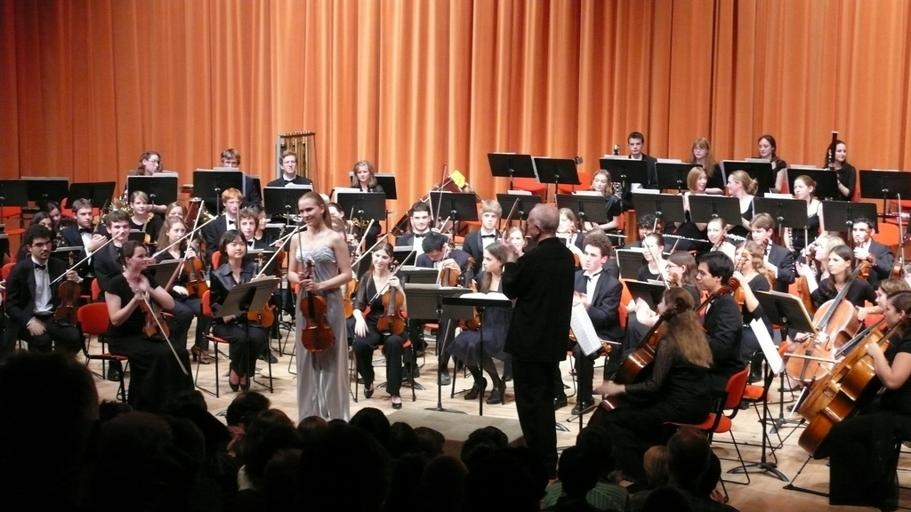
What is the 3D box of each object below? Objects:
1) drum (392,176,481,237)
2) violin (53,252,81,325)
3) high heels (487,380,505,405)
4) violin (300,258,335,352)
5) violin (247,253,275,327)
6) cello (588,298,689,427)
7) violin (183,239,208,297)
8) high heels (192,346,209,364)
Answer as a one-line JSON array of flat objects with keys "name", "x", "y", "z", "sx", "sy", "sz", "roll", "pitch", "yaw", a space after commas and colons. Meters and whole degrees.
[{"name": "drum", "x": -0.359, "y": -0.938, "z": 13.958, "sx": 1.903, "sy": 1.306, "sz": 0.959, "roll": 0, "pitch": -1, "yaw": 19}, {"name": "violin", "x": -5.104, "y": 0.525, "z": 10.810, "sx": 0.287, "sy": 0.717, "sz": 0.225, "roll": 7, "pitch": -6, "yaw": -41}, {"name": "high heels", "x": 0.508, "y": 1.697, "z": 10.181, "sx": 0.164, "sy": 0.137, "sz": 0.319, "roll": -1, "pitch": 8, "yaw": 28}, {"name": "violin", "x": -1.552, "y": 0.566, "z": 9.006, "sx": 0.356, "sy": 0.968, "sz": 0.173, "roll": -6, "pitch": 4, "yaw": 14}, {"name": "violin", "x": -2.497, "y": 0.460, "z": 10.748, "sx": 0.430, "sy": 0.874, "sz": 0.287, "roll": 0, "pitch": 4, "yaw": 2}, {"name": "cello", "x": 2.166, "y": 1.269, "z": 8.509, "sx": 0.838, "sy": 1.642, "sz": 0.704, "roll": 2, "pitch": 1, "yaw": 13}, {"name": "violin", "x": -3.661, "y": 0.181, "z": 11.620, "sx": 0.324, "sy": 0.796, "sz": 0.248, "roll": -3, "pitch": -6, "yaw": -10}, {"name": "high heels", "x": -3.547, "y": 1.375, "z": 11.466, "sx": 0.135, "sy": 0.168, "sz": 0.387, "roll": -13, "pitch": 17, "yaw": -43}]
